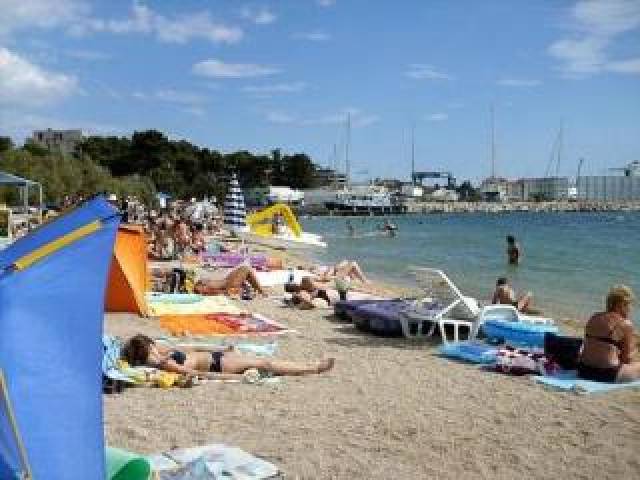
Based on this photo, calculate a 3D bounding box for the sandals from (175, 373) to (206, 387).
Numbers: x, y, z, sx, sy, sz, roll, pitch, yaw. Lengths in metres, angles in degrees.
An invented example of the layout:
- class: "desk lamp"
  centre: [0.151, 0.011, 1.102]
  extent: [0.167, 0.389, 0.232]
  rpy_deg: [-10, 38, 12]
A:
- class: "sandals"
  centre: [-1.310, 1.384, 5.574]
  extent: [0.121, 0.056, 0.187]
  rpy_deg: [-2, -4, 42]

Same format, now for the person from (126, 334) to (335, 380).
- class: "person"
  centre: [-1.004, 1.279, 5.919]
  extent: [2.003, 0.426, 0.687]
  rpy_deg: [11, 0, -16]

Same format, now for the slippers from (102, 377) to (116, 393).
- class: "slippers"
  centre: [-1.971, 1.335, 5.191]
  extent: [0.101, 0.064, 0.133]
  rpy_deg: [2, 6, -14]

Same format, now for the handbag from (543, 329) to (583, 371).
- class: "handbag"
  centre: [2.688, 1.210, 6.176]
  extent: [0.462, 0.430, 0.333]
  rpy_deg: [0, 1, -7]

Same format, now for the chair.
- class: "chair"
  centre: [2.274, 0.958, 8.047]
  extent: [2.077, 0.855, 1.058]
  rpy_deg: [-4, 5, -24]

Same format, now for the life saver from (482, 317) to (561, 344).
- class: "life saver"
  centre: [2.495, 1.122, 6.918]
  extent: [0.412, 0.279, 0.899]
  rpy_deg: [0, 7, -39]
